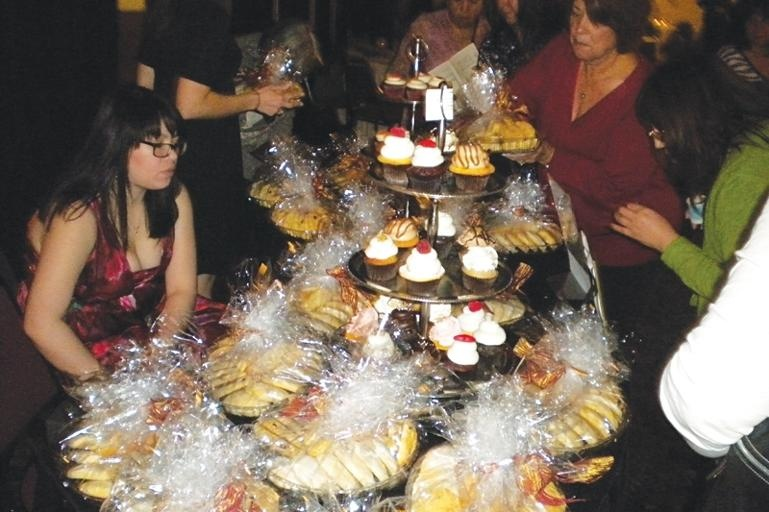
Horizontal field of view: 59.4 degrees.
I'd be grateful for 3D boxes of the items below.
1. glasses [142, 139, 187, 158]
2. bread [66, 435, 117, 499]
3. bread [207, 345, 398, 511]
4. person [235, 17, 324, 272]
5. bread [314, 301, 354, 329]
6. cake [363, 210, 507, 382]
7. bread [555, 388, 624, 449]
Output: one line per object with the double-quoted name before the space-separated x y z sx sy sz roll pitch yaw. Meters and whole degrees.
"glasses" -1.096 -0.538 3.379 0.112 0.033 0.117 15 22 26
"bread" -1.196 0.860 2.760 0.208 0.066 0.217 -24 69 -18
"bread" -0.189 0.698 2.725 0.466 0.109 0.430 -21 46 -33
"person" -0.696 -0.706 4.375 0.567 1.718 0.593 -13 75 -4
"bread" -0.259 0.301 3.443 0.150 0.036 0.152 19 26 35
"cake" 0.187 0.154 3.171 0.737 0.453 0.721 -21 40 -28
"bread" 0.891 0.711 2.921 0.268 0.082 0.213 -26 36 -10
